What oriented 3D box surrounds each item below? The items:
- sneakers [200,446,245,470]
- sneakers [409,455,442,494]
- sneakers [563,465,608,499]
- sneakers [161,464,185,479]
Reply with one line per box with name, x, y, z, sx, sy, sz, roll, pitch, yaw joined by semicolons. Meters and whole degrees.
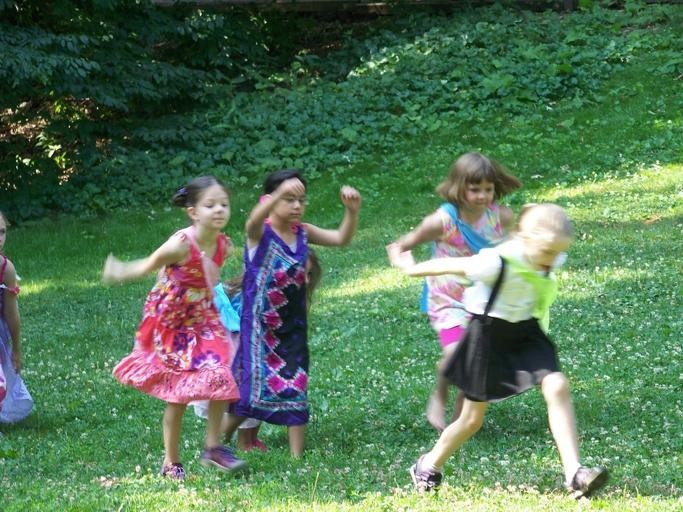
sneakers;-1.096;1.836;9.260;0.455;0.177;0.173;8;13;9
sneakers;0.744;1.941;8.775;0.191;0.399;0.149;-17;-19;19
sneakers;2.097;1.853;8.345;0.179;0.196;0.451;17;-46;-21
sneakers;-1.584;1.990;9.270;0.242;0.149;0.128;2;-30;0
